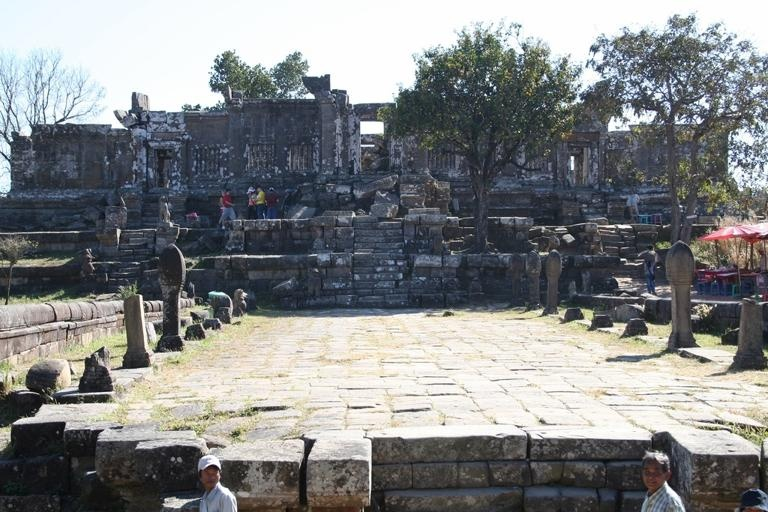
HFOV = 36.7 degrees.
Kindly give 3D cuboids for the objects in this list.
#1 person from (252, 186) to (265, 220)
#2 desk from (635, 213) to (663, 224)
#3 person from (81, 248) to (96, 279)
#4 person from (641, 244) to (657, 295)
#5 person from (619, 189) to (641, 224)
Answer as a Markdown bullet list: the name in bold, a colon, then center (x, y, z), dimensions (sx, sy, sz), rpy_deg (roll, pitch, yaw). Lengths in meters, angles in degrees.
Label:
- **person**: center (-5.092, -2.112, 47.184), dimensions (0.461, 1.181, 1.749), rpy_deg (-1, 3, -7)
- **desk**: center (11.359, -1.576, 49.450), dimensions (0.822, 0.793, 0.649), rpy_deg (-1, -4, 1)
- **person**: center (-10.771, 0.264, 41.876), dimensions (0.475, 0.968, 1.331), rpy_deg (-1, 3, -14)
- **person**: center (9.511, 0.542, 41.434), dimensions (0.475, 1.478, 2.418), rpy_deg (1, 3, 13)
- **person**: center (10.760, -2.180, 50.212), dimensions (0.748, 1.402, 2.611), rpy_deg (1, 3, 12)
